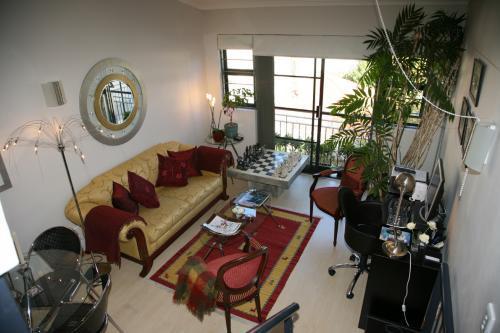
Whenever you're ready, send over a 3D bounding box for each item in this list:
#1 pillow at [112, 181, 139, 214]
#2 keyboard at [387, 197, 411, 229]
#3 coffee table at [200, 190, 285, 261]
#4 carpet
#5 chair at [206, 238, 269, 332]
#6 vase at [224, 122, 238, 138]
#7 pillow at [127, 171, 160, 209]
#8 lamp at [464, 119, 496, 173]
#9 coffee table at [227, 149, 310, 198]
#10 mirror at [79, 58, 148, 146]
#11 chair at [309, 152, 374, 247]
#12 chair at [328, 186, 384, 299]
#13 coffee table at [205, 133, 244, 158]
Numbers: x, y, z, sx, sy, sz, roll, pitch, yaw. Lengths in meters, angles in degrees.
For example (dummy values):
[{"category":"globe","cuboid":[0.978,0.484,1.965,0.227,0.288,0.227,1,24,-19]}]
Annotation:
[{"category":"pillow","cuboid":[-2.015,0.484,5.328,0.142,0.481,0.484,-28,-20,13]},{"category":"keyboard","cuboid":[2.036,0.635,4.595,0.279,0.089,0.455,10,56,25]},{"category":"coffee table","cuboid":[-0.144,0.864,5.484,0.877,0.669,1.496,13,43,23]},{"category":"carpet","cuboid":[-0.002,1.616,5.830,1.538,0.016,2.090,12,33,18]},{"category":"chair","cuboid":[-0.158,1.612,4.436,0.680,1.065,0.766,-12,35,-20]},{"category":"vase","cuboid":[-0.404,-0.785,7.276,0.360,0.347,0.297,-8,16,-32]},{"category":"pillow","cuboid":[-1.858,0.380,5.671,0.172,0.605,0.589,-25,64,16]},{"category":"lamp","cuboid":[2.323,-0.176,3.373,0.207,0.502,0.380,4,14,15]},{"category":"coffee table","cuboid":[0.339,0.101,6.755,1.075,0.502,1.116,12,35,26]},{"category":"mirror","cuboid":[-2.343,-1.123,5.639,0.057,1.475,1.311,10,20,31]},{"category":"chair","cuboid":[1.558,0.592,5.664,0.867,1.375,0.838,-21,41,-23]},{"category":"chair","cuboid":[1.572,1.145,4.953,0.894,1.260,0.954,8,35,22]},{"category":"coffee table","cuboid":[-0.513,-0.448,7.648,0.593,0.417,0.617,5,42,12]}]
